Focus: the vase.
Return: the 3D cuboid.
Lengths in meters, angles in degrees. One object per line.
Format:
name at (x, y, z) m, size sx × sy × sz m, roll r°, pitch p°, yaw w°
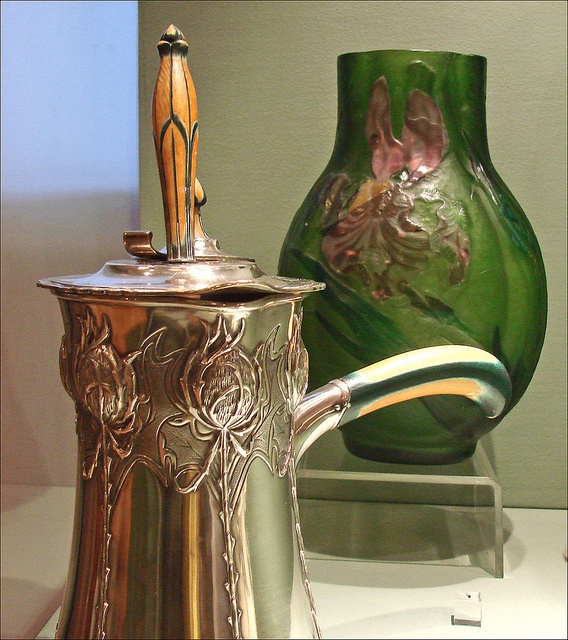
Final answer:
vase at (0.097, -0.068, 0.715) m, size 0.169 × 0.267 × 0.162 m, roll 16°, pitch 26°, yaw 39°
